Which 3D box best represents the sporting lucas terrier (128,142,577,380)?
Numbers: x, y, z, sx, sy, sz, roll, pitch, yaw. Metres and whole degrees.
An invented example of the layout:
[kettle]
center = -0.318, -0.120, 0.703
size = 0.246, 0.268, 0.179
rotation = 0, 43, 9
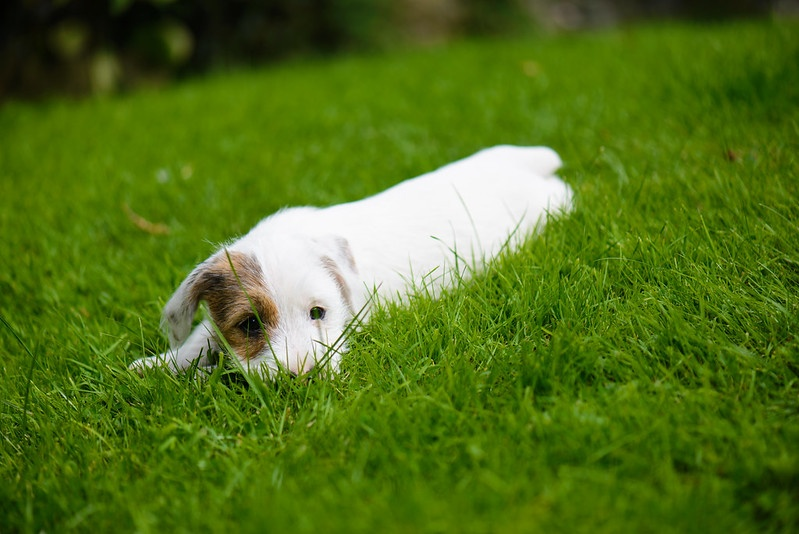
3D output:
[sporting lucas terrier]
center = -0.171, -0.124, 5.035
size = 2.832, 0.965, 1.113
rotation = -26, 35, -38
